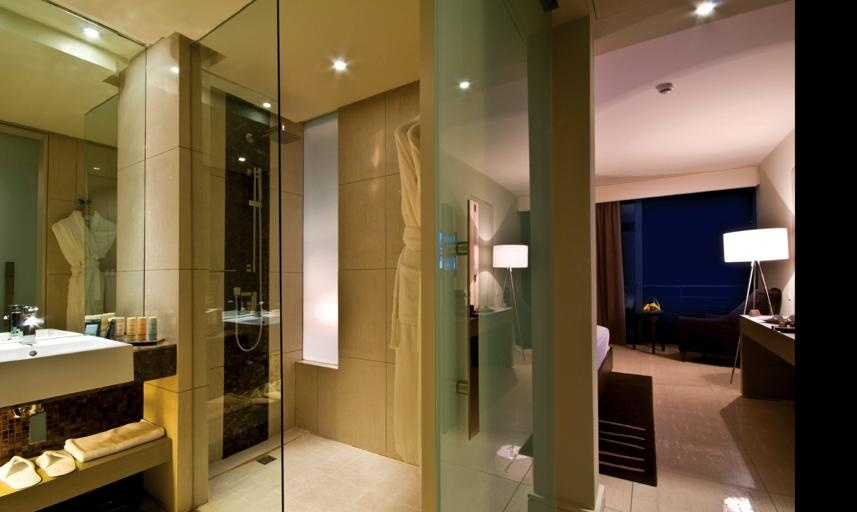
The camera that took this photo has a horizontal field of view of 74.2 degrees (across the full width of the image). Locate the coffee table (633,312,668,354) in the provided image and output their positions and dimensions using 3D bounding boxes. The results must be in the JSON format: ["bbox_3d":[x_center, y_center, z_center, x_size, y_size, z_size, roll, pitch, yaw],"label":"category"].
[{"bbox_3d":[3.259,1.152,8.609,0.428,0.472,0.438,-4,-13,5],"label":"coffee table"}]

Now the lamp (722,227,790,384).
[{"bbox_3d":[3.659,0.477,6.277,0.662,1.521,0.654,-6,4,28],"label":"lamp"}]

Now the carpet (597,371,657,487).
[{"bbox_3d":[1.978,1.647,5.669,0.501,0.035,1.747,3,19,20],"label":"carpet"}]

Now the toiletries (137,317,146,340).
[{"bbox_3d":[-2.328,0.592,4.593,0.076,0.177,0.028,-3,-1,6],"label":"toiletries"}]

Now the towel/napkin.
[{"bbox_3d":[-2.474,1.393,4.432,0.323,0.080,0.458,10,10,44],"label":"towel/napkin"}]

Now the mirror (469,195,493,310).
[{"bbox_3d":[0.337,-0.019,3.725,0.045,0.599,0.253,-4,-2,41],"label":"mirror"}]

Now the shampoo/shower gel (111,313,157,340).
[{"bbox_3d":[-2.461,0.593,4.603,0.537,0.218,0.150,-2,-4,19],"label":"shampoo/shower gel"}]
